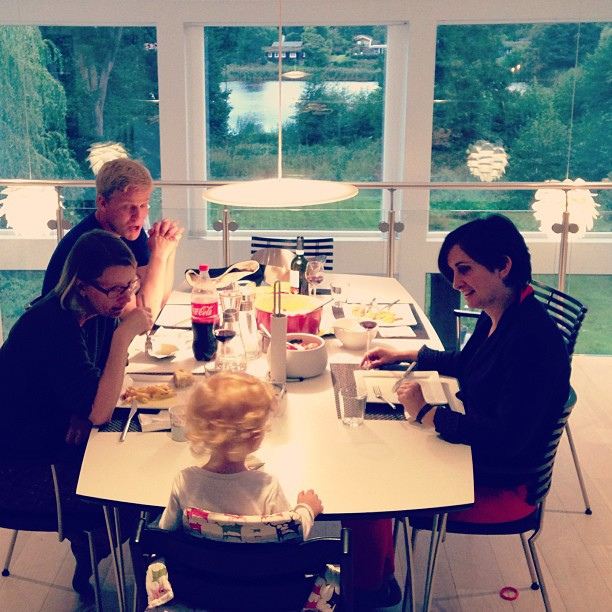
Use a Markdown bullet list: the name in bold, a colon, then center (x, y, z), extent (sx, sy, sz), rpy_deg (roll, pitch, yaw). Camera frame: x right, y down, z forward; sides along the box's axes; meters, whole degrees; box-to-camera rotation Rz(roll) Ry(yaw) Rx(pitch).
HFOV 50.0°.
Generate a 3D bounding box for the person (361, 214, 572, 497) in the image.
- **person**: center (0.492, 0.136, 1.795), extent (0.428, 0.745, 0.471), rpy_deg (4, 15, 20)

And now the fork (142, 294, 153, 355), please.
- **fork**: center (-0.525, 0.105, 2.174), extent (0.017, 0.108, 0.014), rpy_deg (-6, 0, 35)

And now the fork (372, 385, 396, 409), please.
- **fork**: center (0.223, 0.246, 1.852), extent (0.023, 0.017, 0.120), rpy_deg (-9, 31, -11)

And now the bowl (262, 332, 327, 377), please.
- **bowl**: center (-0.007, 0.134, 2.037), extent (0.158, 0.066, 0.146), rpy_deg (0, 8, 0)

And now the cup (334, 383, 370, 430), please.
- **cup**: center (0.118, 0.273, 1.771), extent (0.106, 0.080, 0.091), rpy_deg (3, 15, 12)

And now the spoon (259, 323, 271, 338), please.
- **spoon**: center (-0.142, 0.077, 2.222), extent (0.025, 0.021, 0.087), rpy_deg (34, 5, -26)

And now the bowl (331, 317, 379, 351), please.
- **bowl**: center (0.170, 0.080, 2.296), extent (0.138, 0.061, 0.127), rpy_deg (0, 13, 0)

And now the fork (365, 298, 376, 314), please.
- **fork**: center (0.253, -0.003, 2.632), extent (0.037, 0.047, 0.055), rpy_deg (6, 6, -2)

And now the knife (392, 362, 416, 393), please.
- **knife**: center (0.283, 0.208, 1.923), extent (0.027, 0.010, 0.207), rpy_deg (36, 34, 13)
